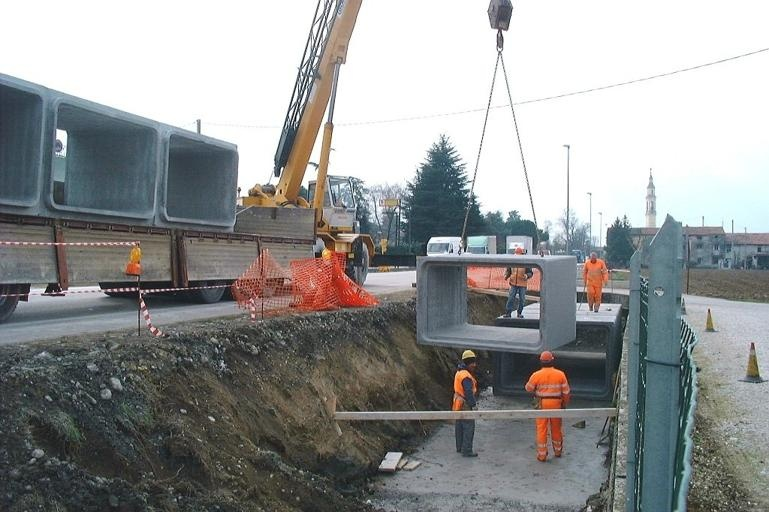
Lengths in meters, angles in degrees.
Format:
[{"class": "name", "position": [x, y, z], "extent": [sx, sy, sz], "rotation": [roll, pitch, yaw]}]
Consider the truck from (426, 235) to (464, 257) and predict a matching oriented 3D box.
[{"class": "truck", "position": [3.555, -0.481, 37.628], "extent": [1.490, 1.665, 2.801], "rotation": [1, 3, -21]}]

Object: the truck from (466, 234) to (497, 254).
[{"class": "truck", "position": [5.717, -0.401, 38.758], "extent": [1.400, 1.675, 2.586], "rotation": [2, 5, 26]}]

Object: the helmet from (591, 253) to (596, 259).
[{"class": "helmet", "position": [5.812, 0.016, 18.457], "extent": [0.117, 0.165, 0.161], "rotation": [-12, 29, 12]}]

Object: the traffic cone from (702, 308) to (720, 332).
[{"class": "traffic cone", "position": [9.380, 1.860, 19.123], "extent": [0.426, 0.667, 0.450], "rotation": [-3, 4, 27]}]

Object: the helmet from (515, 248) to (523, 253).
[{"class": "helmet", "position": [3.724, -0.132, 18.343], "extent": [0.178, 0.123, 0.255], "rotation": [-2, 1, 6]}]

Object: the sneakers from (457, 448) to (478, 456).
[{"class": "sneakers", "position": [1.750, 4.130, 13.958], "extent": [0.408, 0.200, 0.158], "rotation": [0, 2, 0]}]
